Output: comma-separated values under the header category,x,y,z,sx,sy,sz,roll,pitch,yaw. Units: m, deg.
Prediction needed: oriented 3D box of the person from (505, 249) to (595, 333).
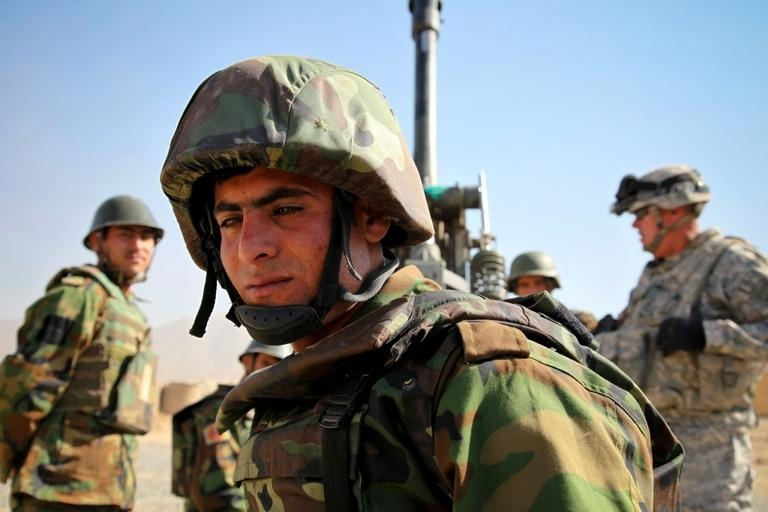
category,x,y,z,sx,sy,sz,roll,pitch,yaw
person,1.140,0.296,6.934,0.585,0.801,0.752,-7,-8,4

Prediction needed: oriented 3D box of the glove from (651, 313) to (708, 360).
category,x,y,z,sx,sy,sz,roll,pitch,yaw
glove,2.365,0.636,7.595,0.337,0.320,0.262,17,-33,-12

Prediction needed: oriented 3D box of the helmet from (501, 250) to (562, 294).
category,x,y,z,sx,sy,sz,roll,pitch,yaw
helmet,1.692,0.153,10.586,0.477,0.415,0.509,1,-6,7
